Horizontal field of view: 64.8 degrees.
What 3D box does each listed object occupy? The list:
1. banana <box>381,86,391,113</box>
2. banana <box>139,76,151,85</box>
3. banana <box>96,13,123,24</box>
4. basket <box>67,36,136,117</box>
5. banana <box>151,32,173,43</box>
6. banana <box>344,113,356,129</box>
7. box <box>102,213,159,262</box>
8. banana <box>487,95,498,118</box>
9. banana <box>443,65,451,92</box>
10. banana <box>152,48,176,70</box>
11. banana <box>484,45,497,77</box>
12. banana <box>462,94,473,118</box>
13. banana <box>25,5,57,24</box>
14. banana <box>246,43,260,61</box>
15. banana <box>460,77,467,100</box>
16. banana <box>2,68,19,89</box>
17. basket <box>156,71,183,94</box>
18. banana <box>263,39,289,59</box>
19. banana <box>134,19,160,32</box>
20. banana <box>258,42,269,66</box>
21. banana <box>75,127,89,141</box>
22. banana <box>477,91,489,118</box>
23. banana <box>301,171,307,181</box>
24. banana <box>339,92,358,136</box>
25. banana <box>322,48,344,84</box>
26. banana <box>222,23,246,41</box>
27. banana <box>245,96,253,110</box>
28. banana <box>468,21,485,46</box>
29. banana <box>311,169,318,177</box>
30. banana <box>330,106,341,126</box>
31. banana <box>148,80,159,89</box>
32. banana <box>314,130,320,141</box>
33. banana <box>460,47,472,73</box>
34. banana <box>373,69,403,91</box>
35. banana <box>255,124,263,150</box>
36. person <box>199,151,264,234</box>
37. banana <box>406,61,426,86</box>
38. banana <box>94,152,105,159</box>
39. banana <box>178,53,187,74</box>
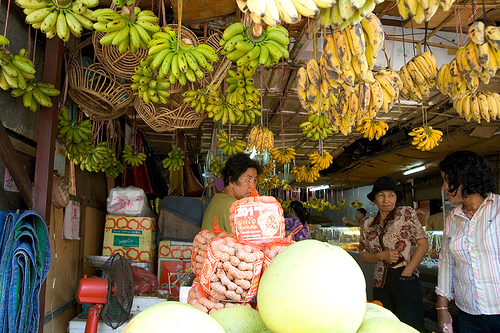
[{"bbox_3d":[0.989,-0.492,2.908,0.062,0.208,0.047,-13,3,34],"label":"banana"},{"bbox_3d":[-0.826,-0.680,3.110,0.045,0.053,0.080,-17,18,22],"label":"banana"},{"bbox_3d":[-0.948,-1.032,2.770,0.239,0.057,0.080,-12,25,-30],"label":"banana"},{"bbox_3d":[-1.373,-0.856,3.603,0.642,0.528,0.623,9,5,-36],"label":"basket"},{"bbox_3d":[-0.631,-0.938,2.827,0.155,0.067,0.035,5,-6,-8],"label":"banana"},{"bbox_3d":[0.738,-0.349,2.940,0.020,0.079,0.058,-18,-2,-21],"label":"banana"},{"bbox_3d":[-1.500,0.868,4.950,0.546,0.476,0.601,0,-3,-1],"label":"box"},{"bbox_3d":[2.117,-0.528,3.452,0.047,0.179,0.082,-15,0,5],"label":"banana"},{"bbox_3d":[1.611,-0.721,3.233,0.047,0.180,0.101,2,-6,15],"label":"banana"},{"bbox_3d":[-0.633,-0.786,2.831,0.153,0.158,0.082,2,-6,17],"label":"banana"},{"bbox_3d":[1.709,-0.745,2.819,0.069,0.227,0.056,-5,2,-27],"label":"banana"},{"bbox_3d":[1.935,-0.548,3.543,0.061,0.208,0.053,7,6,-11],"label":"banana"},{"bbox_3d":[-1.429,-1.031,2.701,0.175,0.153,0.128,8,-7,-28],"label":"banana"},{"bbox_3d":[0.021,-0.849,2.884,0.029,0.100,0.063,34,-5,-9],"label":"banana"},{"bbox_3d":[1.713,-0.632,3.164,0.035,0.146,0.047,-5,3,-28],"label":"banana"},{"bbox_3d":[-1.708,-0.626,2.838,0.028,0.040,0.172,35,-20,28],"label":"banana"},{"bbox_3d":[-0.697,-0.740,3.396,0.171,0.206,0.197,2,40,-9],"label":"basket"},{"bbox_3d":[0.202,-0.840,2.941,0.214,0.106,0.055,40,-1,8],"label":"banana"},{"bbox_3d":[-0.739,-0.997,2.785,0.139,0.056,0.041,14,-38,2],"label":"banana"},{"bbox_3d":[0.097,-0.833,2.913,0.076,0.152,0.082,3,-6,6],"label":"banana"},{"bbox_3d":[-1.584,-0.300,3.706,0.038,0.133,0.050,-41,4,-34],"label":"banana"},{"bbox_3d":[2.033,-0.549,3.457,0.060,0.217,0.059,-3,-20,-30],"label":"banana"},{"bbox_3d":[0.697,0.112,5.188,0.053,0.111,0.131,4,-6,-7],"label":"banana"},{"bbox_3d":[0.730,-0.385,2.893,0.088,0.072,0.296,-12,-43,-20],"label":"banana"},{"bbox_3d":[0.533,-0.656,2.520,0.083,0.247,0.051,-42,10,-22],"label":"banana"},{"bbox_3d":[-0.120,-0.988,2.913,0.170,0.093,0.059,-40,12,-7],"label":"banana"},{"bbox_3d":[-0.008,-0.557,3.500,0.029,0.043,0.119,-8,-31,9],"label":"banana"},{"bbox_3d":[1.595,-0.939,2.784,0.113,0.164,0.056,-12,-16,38],"label":"banana"},{"bbox_3d":[0.821,0.072,5.079,0.028,0.151,0.039,-34,-31,29],"label":"banana"},{"bbox_3d":[0.634,-0.367,2.954,0.057,0.179,0.049,-19,10,-18],"label":"banana"},{"bbox_3d":[-0.766,-0.651,3.109,0.045,0.046,0.069,-3,-4,-9],"label":"banana"},{"bbox_3d":[0.731,-0.340,4.311,0.045,0.104,0.050,6,-3,6],"label":"banana"},{"bbox_3d":[1.613,-0.795,2.970,0.042,0.160,0.119,-4,-12,-2],"label":"banana"},{"bbox_3d":[1.037,-0.642,2.954,0.172,0.177,0.058,-2,-33,-49],"label":"banana"},{"bbox_3d":[0.089,-0.288,3.984,0.048,0.225,0.076,1,-20,30],"label":"banana"},{"bbox_3d":[-0.158,0.181,3.349,0.500,0.877,0.773,1,-12,-4],"label":"person"},{"bbox_3d":[1.380,-0.775,3.325,0.079,0.249,0.082,-43,-29,21],"label":"banana"},{"bbox_3d":[-1.523,-0.114,3.975,0.098,0.037,0.029,43,-42,-22],"label":"banana"},{"bbox_3d":[-0.483,-0.752,2.834,0.072,0.136,0.058,6,-6,-21],"label":"banana"}]
